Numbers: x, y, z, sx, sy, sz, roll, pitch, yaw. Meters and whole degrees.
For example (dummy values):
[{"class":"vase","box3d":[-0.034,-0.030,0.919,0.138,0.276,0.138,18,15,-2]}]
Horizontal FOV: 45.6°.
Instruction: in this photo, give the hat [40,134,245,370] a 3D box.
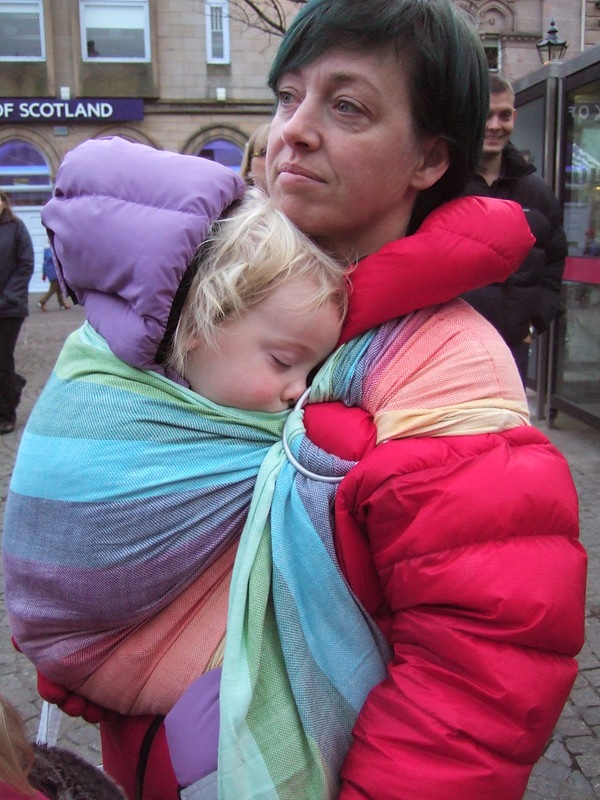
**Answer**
[{"class":"hat","box3d":[-0.133,-0.196,0.992,0.317,0.331,0.270,1,9,-1]}]
